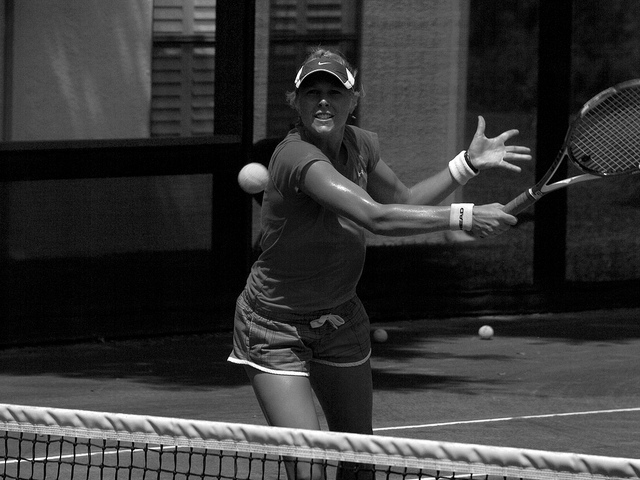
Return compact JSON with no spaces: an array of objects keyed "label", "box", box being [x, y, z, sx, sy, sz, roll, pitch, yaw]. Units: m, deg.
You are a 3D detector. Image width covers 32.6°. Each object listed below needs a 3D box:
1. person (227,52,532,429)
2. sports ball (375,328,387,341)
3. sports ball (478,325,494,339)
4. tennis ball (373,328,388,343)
[{"label":"person","box":[0.202,0.016,6.189,1.417,2.152,0.952,-1,8,-7]},{"label":"sports ball","box":[0.664,1.023,11.816,0.112,0.109,0.109,0,6,0]},{"label":"sports ball","box":[1.874,1.016,12.077,0.146,0.139,0.136,-1,0,0]},{"label":"tennis ball","box":[0.665,1.036,11.843,0.148,0.128,0.220,1,8,6]}]
